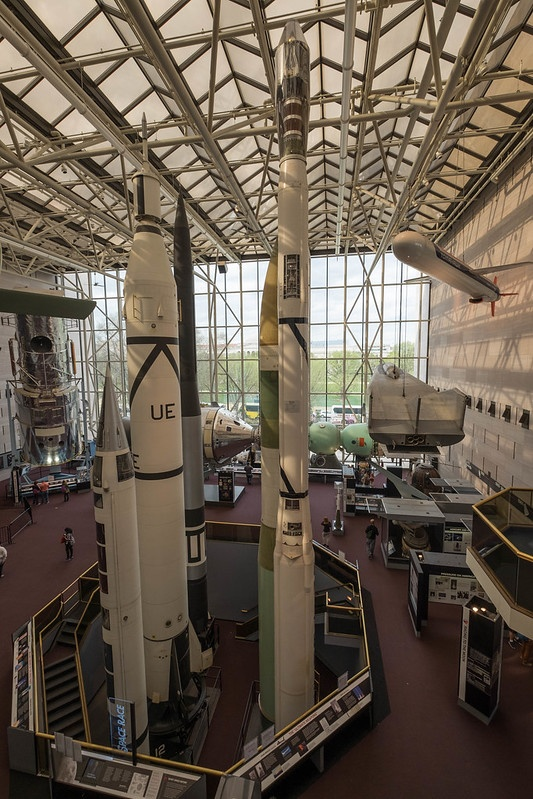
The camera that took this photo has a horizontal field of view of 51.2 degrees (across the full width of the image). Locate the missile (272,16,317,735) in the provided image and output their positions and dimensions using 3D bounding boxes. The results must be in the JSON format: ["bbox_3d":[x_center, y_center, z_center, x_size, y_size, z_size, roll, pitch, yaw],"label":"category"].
[{"bbox_3d":[0.381,-0.064,7.888,0.756,10.040,0.637,-6,7,-39],"label":"missile"}]

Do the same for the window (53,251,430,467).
[{"bbox_3d":[-0.299,-1.490,16.687,8.394,5.534,0.173,-1,-2,11],"label":"window"}]

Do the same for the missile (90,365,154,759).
[{"bbox_3d":[-2.083,2.489,7.871,0.606,5.542,0.563,-3,6,-18],"label":"missile"}]

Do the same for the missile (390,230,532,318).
[{"bbox_3d":[3.929,-2.858,12.228,2.231,0.963,2.330,18,0,-40],"label":"missile"}]
